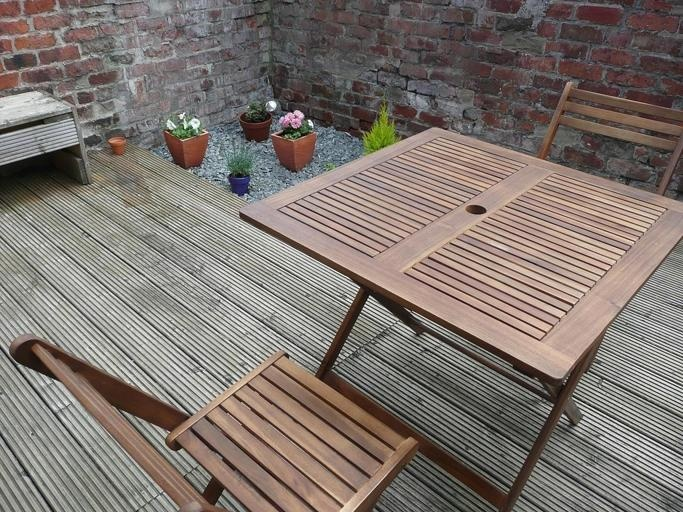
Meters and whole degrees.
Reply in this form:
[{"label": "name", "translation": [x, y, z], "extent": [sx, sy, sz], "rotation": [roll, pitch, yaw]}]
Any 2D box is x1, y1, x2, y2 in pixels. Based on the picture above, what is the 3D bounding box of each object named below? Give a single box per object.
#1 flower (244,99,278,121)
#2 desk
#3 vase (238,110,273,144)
[{"label": "flower", "translation": [-0.911, -1.664, 5.422], "extent": [0.413, 0.181, 0.451], "rotation": [-5, 30, 0]}, {"label": "desk", "translation": [0.787, 0.218, 2.995], "extent": [2.019, 1.435, 1.986], "rotation": [31, 51, 31]}, {"label": "vase", "translation": [-0.916, -1.448, 5.269], "extent": [0.382, 0.206, 0.383], "rotation": [28, 43, 35]}]
